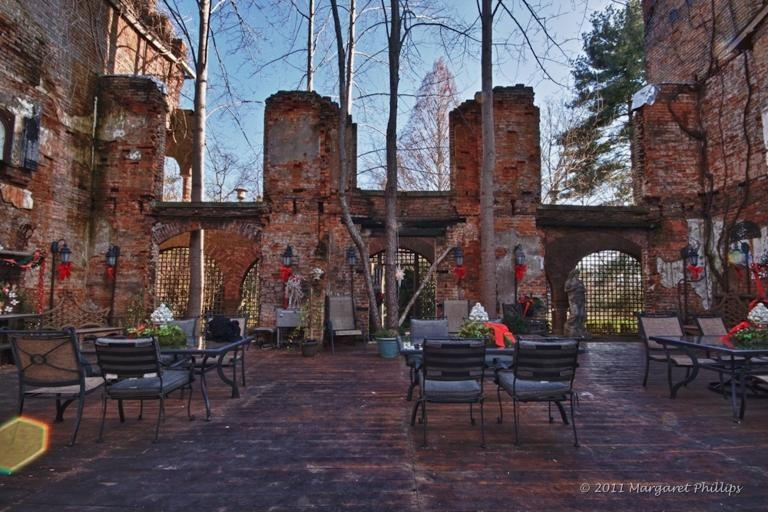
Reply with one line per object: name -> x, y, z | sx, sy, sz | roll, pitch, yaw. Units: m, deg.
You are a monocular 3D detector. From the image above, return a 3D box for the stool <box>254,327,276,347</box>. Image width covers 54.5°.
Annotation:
stool -> -3.258, 2.222, 20.414 | 0.593, 0.537, 0.693 | 0, -7, -10

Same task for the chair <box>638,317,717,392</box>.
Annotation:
chair -> 6.658, 2.050, 16.336 | 1.481, 1.958, 1.635 | 3, -14, -8

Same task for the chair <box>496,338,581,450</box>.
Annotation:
chair -> 2.940, 2.574, 14.234 | 1.524, 2.048, 0.997 | -2, -7, 8

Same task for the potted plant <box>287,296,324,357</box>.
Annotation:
potted plant -> -2.080, 1.836, 20.250 | 0.973, 1.446, 0.645 | -3, -7, 13

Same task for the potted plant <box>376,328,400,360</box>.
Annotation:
potted plant -> 0.097, 2.220, 18.772 | 0.674, 0.681, 0.653 | 1, -5, -10

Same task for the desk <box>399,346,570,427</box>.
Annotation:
desk -> 2.137, 2.526, 14.567 | 3.064, 1.726, 1.704 | 1, -6, -1
